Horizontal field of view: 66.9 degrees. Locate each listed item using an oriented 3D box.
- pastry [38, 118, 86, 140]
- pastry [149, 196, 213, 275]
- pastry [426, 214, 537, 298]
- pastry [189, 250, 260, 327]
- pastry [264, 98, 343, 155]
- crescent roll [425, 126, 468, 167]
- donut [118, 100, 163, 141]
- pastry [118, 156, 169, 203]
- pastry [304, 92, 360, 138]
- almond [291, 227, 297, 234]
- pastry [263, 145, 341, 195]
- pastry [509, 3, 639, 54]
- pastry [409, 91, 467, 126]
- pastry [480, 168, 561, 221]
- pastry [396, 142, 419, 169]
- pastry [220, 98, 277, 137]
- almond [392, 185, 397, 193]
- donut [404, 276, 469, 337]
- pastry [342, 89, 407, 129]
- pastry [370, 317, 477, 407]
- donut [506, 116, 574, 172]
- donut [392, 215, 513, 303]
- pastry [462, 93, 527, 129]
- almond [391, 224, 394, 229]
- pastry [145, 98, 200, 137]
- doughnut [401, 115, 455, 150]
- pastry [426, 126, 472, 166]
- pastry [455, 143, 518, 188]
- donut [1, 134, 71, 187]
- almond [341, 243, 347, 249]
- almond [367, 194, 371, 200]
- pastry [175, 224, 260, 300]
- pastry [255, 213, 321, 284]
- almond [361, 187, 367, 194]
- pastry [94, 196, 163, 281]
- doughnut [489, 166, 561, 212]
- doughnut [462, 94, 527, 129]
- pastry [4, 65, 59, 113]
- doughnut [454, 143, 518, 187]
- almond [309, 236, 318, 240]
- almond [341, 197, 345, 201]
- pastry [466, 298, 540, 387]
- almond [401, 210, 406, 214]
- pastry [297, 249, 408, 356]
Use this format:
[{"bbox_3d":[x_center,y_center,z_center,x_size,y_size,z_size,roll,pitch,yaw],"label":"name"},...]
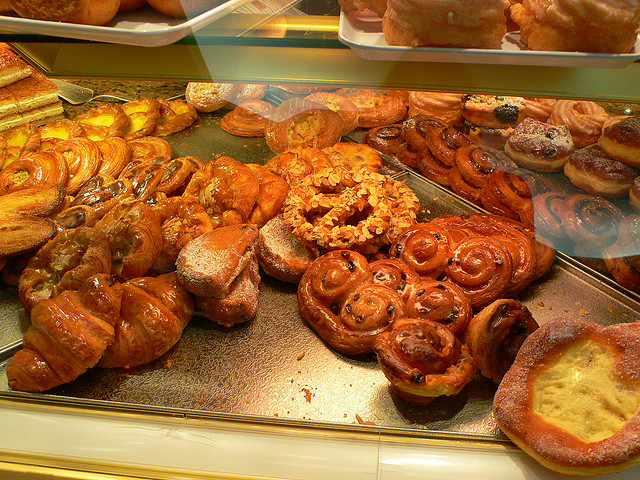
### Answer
[{"bbox_3d":[-1.426,-0.612,2.671,0.193,0.060,0.184,6,17,9],"label":"pastry"},{"bbox_3d":[-0.596,-0.041,2.085,0.321,0.123,0.301,-17,54,-8],"label":"pastry"},{"bbox_3d":[0.736,0.125,2.109,0.366,0.104,0.350,-25,43,-22],"label":"pastry"},{"bbox_3d":[-0.343,0.225,1.943,0.203,0.117,0.312,5,57,4],"label":"pastry"},{"bbox_3d":[-0.090,-0.588,2.544,0.336,0.119,0.324,-22,61,-11],"label":"pastry"},{"bbox_3d":[0.599,-0.466,2.394,0.184,0.057,0.197,5,60,-9],"label":"crescent roll"},{"bbox_3d":[-1.040,-0.637,2.710,0.190,0.052,0.224,-11,58,-21],"label":"donut"},{"bbox_3d":[-0.817,-0.303,2.299,0.204,0.067,0.256,6,47,16],"label":"pastry"},{"bbox_3d":[0.090,-0.685,2.623,0.278,0.089,0.261,26,52,11],"label":"pastry"},{"bbox_3d":[-0.108,-0.040,2.035,0.008,0.007,0.034,29,79,23],"label":"almond"},{"bbox_3d":[-0.057,-0.370,2.288,0.320,0.102,0.261,14,39,29],"label":"pastry"},{"bbox_3d":[0.705,-0.582,1.314,0.216,0.074,0.192,22,39,32],"label":"pastry"},{"bbox_3d":[0.608,-0.702,2.548,0.306,0.178,0.304,17,31,32],"label":"pastry"},{"bbox_3d":[0.845,-0.207,2.059,0.216,0.093,0.265,-18,40,-5],"label":"pastry"},{"bbox_3d":[0.459,-0.444,2.509,0.130,0.046,0.121,15,84,29],"label":"pastry"},{"bbox_3d":[-0.397,-0.664,2.649,0.250,0.077,0.230,13,42,18],"label":"pastry"},{"bbox_3d":[0.341,-0.232,2.213,0.019,0.006,0.024,15,51,10],"label":"almond"},{"bbox_3d":[0.452,0.241,1.815,0.235,0.104,0.191,16,57,18],"label":"donut"},{"bbox_3d":[0.277,-0.737,2.747,0.391,0.113,0.381,-21,38,-37],"label":"pastry"},{"bbox_3d":[0.362,0.411,1.694,0.379,0.195,0.345,9,29,9],"label":"pastry"},{"bbox_3d":[0.956,-0.420,2.215,0.311,0.140,0.288,1,36,-25],"label":"donut"},{"bbox_3d":[0.570,0.039,2.033,0.536,0.185,0.387,12,79,47],"label":"donut"},{"bbox_3d":[0.817,-0.590,2.230,0.262,0.087,0.252,13,32,23],"label":"pastry"},{"bbox_3d":[0.311,-0.057,2.079,0.014,0.004,0.013,-4,58,3],"label":"almond"},{"bbox_3d":[-0.838,-0.650,2.776,0.240,0.079,0.252,22,48,29],"label":"pastry"},{"bbox_3d":[0.532,-0.556,2.452,0.196,0.066,0.211,-28,51,-32],"label":"doughnut"},{"bbox_3d":[0.614,-0.473,2.364,0.189,0.058,0.200,-34,65,-25],"label":"pastry"},{"bbox_3d":[0.749,-0.357,2.239,0.200,0.069,0.221,-16,40,-24],"label":"pastry"},{"bbox_3d":[-1.414,-0.357,2.336,0.309,0.083,0.259,13,41,20],"label":"donut"},{"bbox_3d":[0.099,0.024,2.014,0.023,0.022,0.006,17,6,3],"label":"almond"},{"bbox_3d":[0.215,-0.184,2.101,0.023,0.006,0.022,-46,35,-5],"label":"almond"},{"bbox_3d":[-0.419,0.051,1.972,0.267,0.092,0.351,17,47,18],"label":"pastry"},{"bbox_3d":[-0.163,0.052,2.062,0.251,0.095,0.247,33,42,12],"label":"pastry"},{"bbox_3d":[0.197,-0.214,2.110,0.022,0.005,0.020,12,51,0],"label":"almond"},{"bbox_3d":[-0.763,0.015,1.983,0.283,0.116,0.307,10,79,3],"label":"pastry"},{"bbox_3d":[0.864,-0.233,2.101,0.185,0.077,0.229,-13,43,-8],"label":"doughnut"},{"bbox_3d":[0.837,-0.606,2.346,0.290,0.094,0.291,21,37,34],"label":"doughnut"},{"bbox_3d":[-1.895,-0.957,3.176,0.283,0.152,0.326,-37,57,-19],"label":"pastry"},{"bbox_3d":[0.770,-0.345,2.260,0.228,0.068,0.192,2,37,-8],"label":"doughnut"},{"bbox_3d":[-0.032,-0.006,2.002,0.016,0.003,0.015,-24,71,-7],"label":"almond"},{"bbox_3d":[0.100,-0.175,2.094,0.015,0.004,0.013,-2,51,15],"label":"almond"},{"bbox_3d":[0.631,0.338,1.674,0.239,0.118,0.281,-2,64,38],"label":"pastry"},{"bbox_3d":[0.369,-0.121,2.131,0.014,0.004,0.013,-19,30,0],"label":"almond"},{"bbox_3d":[0.113,0.223,1.889,0.340,0.141,0.443,-27,52,-16],"label":"pastry"}]
